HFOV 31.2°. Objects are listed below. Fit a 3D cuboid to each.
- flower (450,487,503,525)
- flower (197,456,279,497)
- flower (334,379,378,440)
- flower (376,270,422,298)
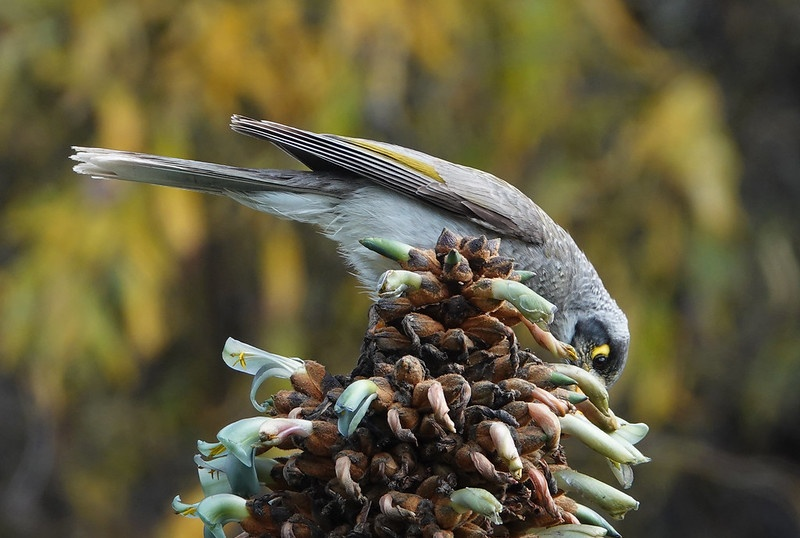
[{"bbox_3d":[0.224,0.633,3.938,0.133,0.080,0.060,19,42,29],"label":"flower"},{"bbox_3d":[-0.460,0.576,4.012,0.163,0.156,0.116,-2,94,27],"label":"flower"},{"bbox_3d":[-0.113,0.368,3.961,0.047,0.188,0.118,26,61,-3],"label":"flower"},{"bbox_3d":[0.002,0.041,4.003,0.103,0.072,0.052,-11,102,-38],"label":"flower"}]
